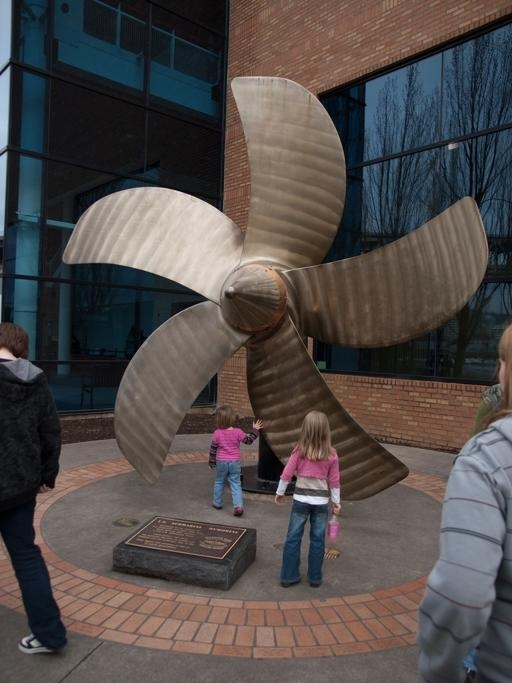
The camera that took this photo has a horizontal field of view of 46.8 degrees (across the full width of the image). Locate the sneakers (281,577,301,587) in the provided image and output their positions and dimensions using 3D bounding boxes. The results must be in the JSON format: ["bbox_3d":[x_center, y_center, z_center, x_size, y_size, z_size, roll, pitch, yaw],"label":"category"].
[{"bbox_3d":[0.246,1.627,3.996,0.172,0.046,0.064,2,0,-29],"label":"sneakers"}]

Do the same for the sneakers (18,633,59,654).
[{"bbox_3d":[-1.144,1.563,3.082,0.217,0.097,0.086,-1,-3,9],"label":"sneakers"}]

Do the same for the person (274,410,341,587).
[{"bbox_3d":[0.356,1.067,4.027,0.416,0.972,0.300,2,-1,6],"label":"person"}]

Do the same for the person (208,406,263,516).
[{"bbox_3d":[-0.224,1.129,5.645,0.396,0.902,0.343,2,-1,1],"label":"person"}]
